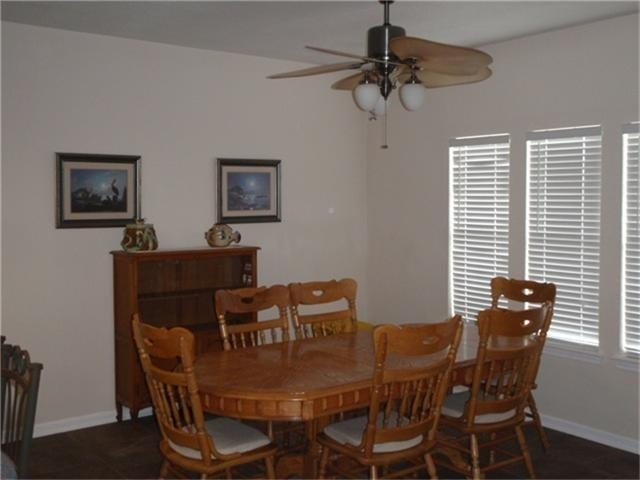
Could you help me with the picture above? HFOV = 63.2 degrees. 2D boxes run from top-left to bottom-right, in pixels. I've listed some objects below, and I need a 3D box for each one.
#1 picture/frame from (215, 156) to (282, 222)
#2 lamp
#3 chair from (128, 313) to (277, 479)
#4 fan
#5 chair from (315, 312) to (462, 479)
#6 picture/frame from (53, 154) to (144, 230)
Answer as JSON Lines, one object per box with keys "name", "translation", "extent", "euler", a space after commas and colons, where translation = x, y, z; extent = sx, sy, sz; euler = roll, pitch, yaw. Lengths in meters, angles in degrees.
{"name": "picture/frame", "translation": [-0.728, -0.508, 5.104], "extent": [0.780, 0.638, 0.061], "euler": [-1, 3, -32]}
{"name": "lamp", "translation": [0.428, -0.913, 3.183], "extent": [0.454, 0.233, 0.158], "euler": [1, 0, 3]}
{"name": "chair", "translation": [-0.633, 0.896, 2.914], "extent": [0.682, 0.945, 0.442], "euler": [-5, 8, -18]}
{"name": "fan", "translation": [0.457, -1.457, 3.752], "extent": [1.004, 0.405, 0.980], "euler": [6, -6, -39]}
{"name": "chair", "translation": [0.415, 1.049, 3.134], "extent": [0.870, 1.291, 0.761], "euler": [-3, 8, 1]}
{"name": "picture/frame", "translation": [-1.898, -0.405, 4.379], "extent": [0.747, 0.645, 0.053], "euler": [-2, 6, -33]}
